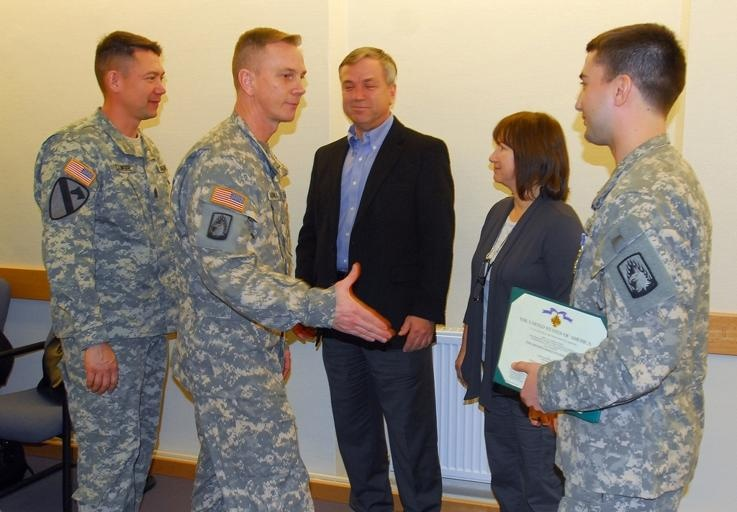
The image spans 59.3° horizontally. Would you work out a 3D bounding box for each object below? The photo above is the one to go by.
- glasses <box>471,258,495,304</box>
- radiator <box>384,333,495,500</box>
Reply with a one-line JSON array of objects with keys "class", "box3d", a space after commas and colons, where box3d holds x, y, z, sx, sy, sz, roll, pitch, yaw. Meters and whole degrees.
[{"class": "glasses", "box3d": [0.533, 0.124, 3.084, 0.187, 0.176, 0.056, 2, 1, -35]}, {"class": "radiator", "box3d": [0.411, 0.907, 3.531, 0.083, 0.773, 0.847, -13, -21, 42]}]
